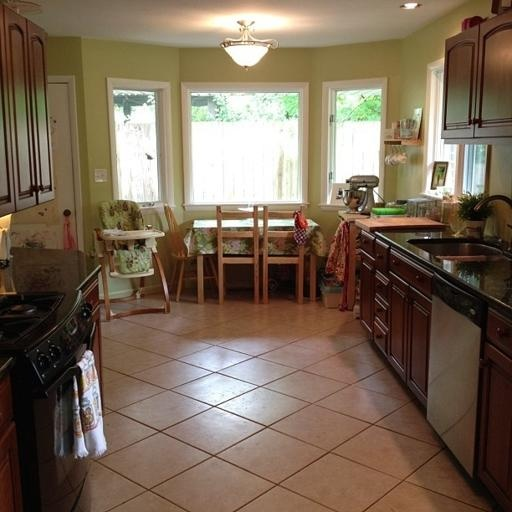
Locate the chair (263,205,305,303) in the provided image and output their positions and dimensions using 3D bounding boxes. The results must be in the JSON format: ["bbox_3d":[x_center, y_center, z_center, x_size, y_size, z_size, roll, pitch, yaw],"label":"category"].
[{"bbox_3d":[0.308,-0.032,4.963,0.474,1.125,0.608,-1,9,0],"label":"chair"}]

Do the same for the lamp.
[{"bbox_3d":[-0.087,-1.923,4.057,0.566,0.431,0.586,0,14,-1],"label":"lamp"}]

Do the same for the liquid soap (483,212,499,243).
[{"bbox_3d":[1.601,-0.197,2.874,0.089,0.173,0.170,2,17,11],"label":"liquid soap"}]

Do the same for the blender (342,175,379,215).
[{"bbox_3d":[1.150,-0.688,4.640,0.364,0.413,0.233,4,17,18],"label":"blender"}]

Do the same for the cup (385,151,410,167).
[{"bbox_3d":[1.540,-1.067,4.682,0.157,0.098,0.222,-2,9,6],"label":"cup"}]

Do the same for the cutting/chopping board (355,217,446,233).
[{"bbox_3d":[1.223,-0.260,3.555,0.651,0.098,0.551,-1,8,-4],"label":"cutting/chopping board"}]

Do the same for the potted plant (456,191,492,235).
[{"bbox_3d":[1.426,-0.293,2.922,0.267,0.336,0.270,-1,5,-4],"label":"potted plant"}]

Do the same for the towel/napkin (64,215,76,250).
[{"bbox_3d":[-2.127,-0.260,4.816,0.122,0.369,0.060,1,9,8],"label":"towel/napkin"}]

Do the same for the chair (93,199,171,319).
[{"bbox_3d":[-1.403,-0.009,4.762,0.765,1.229,0.978,-4,9,-21],"label":"chair"}]
